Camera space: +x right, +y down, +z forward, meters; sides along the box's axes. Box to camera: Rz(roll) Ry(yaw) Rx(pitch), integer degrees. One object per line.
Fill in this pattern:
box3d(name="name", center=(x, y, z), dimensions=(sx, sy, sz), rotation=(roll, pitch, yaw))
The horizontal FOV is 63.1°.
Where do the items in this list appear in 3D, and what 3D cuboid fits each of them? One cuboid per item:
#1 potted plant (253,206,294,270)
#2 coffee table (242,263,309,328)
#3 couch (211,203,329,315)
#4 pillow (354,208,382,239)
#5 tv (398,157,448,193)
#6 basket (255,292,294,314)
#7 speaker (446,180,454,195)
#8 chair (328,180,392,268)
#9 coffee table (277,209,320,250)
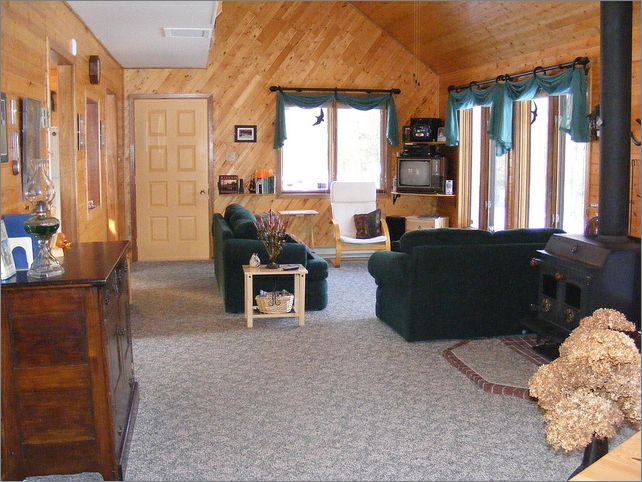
box3d(name="potted plant", center=(-0.465, 0.000, 5.003), dimensions=(0.307, 0.519, 0.283), rotation=(1, -4, -29))
box3d(name="coffee table", center=(-0.445, 0.535, 5.080), dimensions=(0.568, 0.540, 0.444), rotation=(0, 1, -11))
box3d(name="couch", center=(-0.699, 0.093, 6.285), dimensions=(1.148, 0.991, 2.115), rotation=(1, 11, -17))
box3d(name="pillow", center=(0.693, -0.238, 7.808), dimensions=(0.375, 0.411, 0.146), rotation=(-7, -20, 6))
box3d(name="tv", center=(1.611, -0.997, 8.203), dimensions=(0.889, 0.667, 0.519), rotation=(0, 0, 38))
box3d(name="basket", center=(-0.438, 0.578, 4.966), dimensions=(0.267, 0.133, 0.220), rotation=(0, 2, -7))
box3d(name="speaker", center=(1.989, -0.826, 8.088), dimensions=(0.117, 0.223, 0.259), rotation=(3, 10, 17))
box3d(name="chair", center=(0.549, -0.260, 7.788), dimensions=(0.765, 1.148, 0.921), rotation=(-1, 12, -6))
box3d(name="coffee table", center=(-0.365, -0.173, 8.184), dimensions=(0.575, 0.595, 0.610), rotation=(-2, 3, -18))
